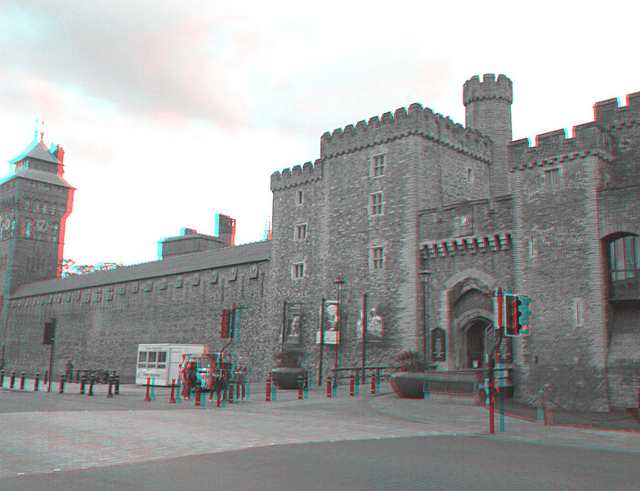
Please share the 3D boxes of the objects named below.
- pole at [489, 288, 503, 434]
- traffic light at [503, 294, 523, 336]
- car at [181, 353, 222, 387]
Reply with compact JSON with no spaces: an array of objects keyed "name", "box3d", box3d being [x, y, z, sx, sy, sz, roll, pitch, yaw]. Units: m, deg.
[{"name":"pole","box3d":[7.611,4.879,28.451,0.409,4.857,0.512,2,-8,-39]},{"name":"traffic light","box3d":[8.805,3.132,30.127,0.768,1.827,0.293,-3,-16,13]},{"name":"car","box3d":[-6.029,6.298,33.415,1.899,1.616,0.986,-6,-12,26]}]
